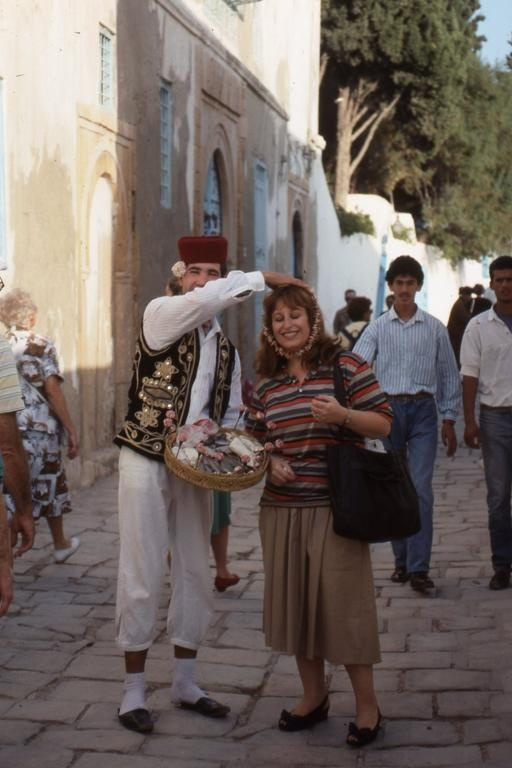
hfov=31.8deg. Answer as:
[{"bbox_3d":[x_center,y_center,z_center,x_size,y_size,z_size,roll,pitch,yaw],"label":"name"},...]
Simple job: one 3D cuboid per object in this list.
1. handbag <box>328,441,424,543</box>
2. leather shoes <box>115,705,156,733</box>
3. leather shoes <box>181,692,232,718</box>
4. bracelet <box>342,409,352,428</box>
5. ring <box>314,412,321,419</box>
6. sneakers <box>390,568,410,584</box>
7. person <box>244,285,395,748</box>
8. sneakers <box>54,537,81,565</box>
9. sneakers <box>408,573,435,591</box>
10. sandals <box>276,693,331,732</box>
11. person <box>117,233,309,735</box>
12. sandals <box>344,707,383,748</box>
[{"bbox_3d":[0.371,0.348,2.853,0.294,0.307,0.292,0,7,2],"label":"handbag"},{"bbox_3d":[-0.392,1.099,2.947,0.114,0.078,0.138,-1,7,-9],"label":"leather shoes"},{"bbox_3d":[-0.171,1.101,3.110,0.180,0.061,0.068,-2,-1,39],"label":"leather shoes"},{"bbox_3d":[0.287,0.110,2.835,0.023,0.065,0.066,2,7,15],"label":"bracelet"},{"bbox_3d":[0.190,0.100,2.820,0.018,0.005,0.018,3,35,-2],"label":"ring"},{"bbox_3d":[0.796,1.067,4.972,0.072,0.093,0.212,1,-13,3],"label":"sneakers"},{"bbox_3d":[0.181,0.414,2.941,0.488,1.468,0.458,1,7,10],"label":"person"},{"bbox_3d":[-1.178,1.058,5.624,0.050,0.075,0.172,6,25,17],"label":"sneakers"},{"bbox_3d":[0.871,1.042,4.708,0.061,0.077,0.164,-4,-19,-9],"label":"sneakers"},{"bbox_3d":[0.165,1.103,3.010,0.155,0.069,0.084,1,-13,-40],"label":"sandals"},{"bbox_3d":[-0.184,0.321,3.075,0.527,1.695,0.509,1,-4,37],"label":"person"},{"bbox_3d":[0.327,1.084,2.811,0.057,0.053,0.129,-4,-2,22],"label":"sandals"}]
